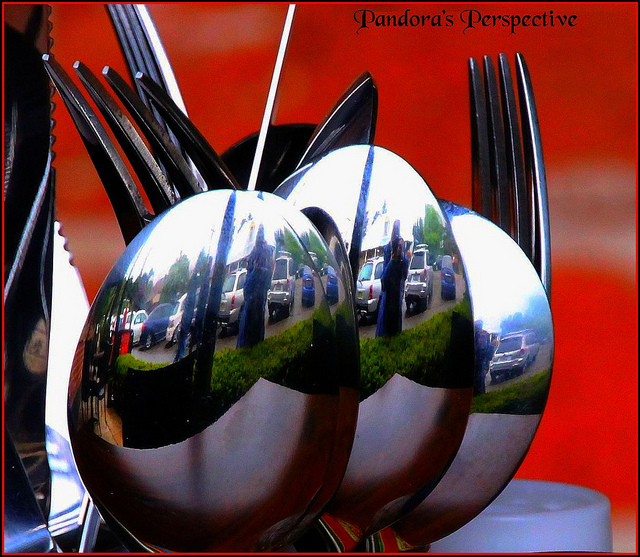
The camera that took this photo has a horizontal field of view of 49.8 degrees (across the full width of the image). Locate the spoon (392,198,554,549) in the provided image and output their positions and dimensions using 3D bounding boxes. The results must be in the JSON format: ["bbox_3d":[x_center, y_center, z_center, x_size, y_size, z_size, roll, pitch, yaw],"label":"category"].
[{"bbox_3d":[0.124,0.063,0.493,0.048,0.214,0.159,2,0,-31],"label":"spoon"}]

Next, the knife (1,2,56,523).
[{"bbox_3d":[-0.277,-0.001,0.649,0.043,0.489,0.041,-6,-8,26],"label":"knife"}]

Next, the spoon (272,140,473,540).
[{"bbox_3d":[0.039,0.029,0.412,0.033,0.213,0.143,-1,-2,-25],"label":"spoon"}]

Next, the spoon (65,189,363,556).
[{"bbox_3d":[-0.066,0.041,0.425,0.146,0.231,0.157,0,-3,-43],"label":"spoon"}]

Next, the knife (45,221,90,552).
[{"bbox_3d":[-0.223,0.104,0.599,0.027,0.303,0.029,-4,-5,2],"label":"knife"}]
